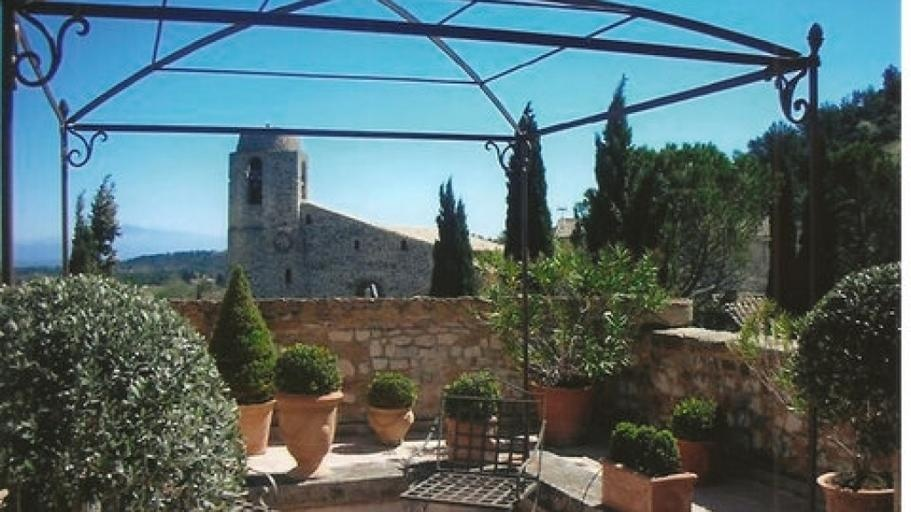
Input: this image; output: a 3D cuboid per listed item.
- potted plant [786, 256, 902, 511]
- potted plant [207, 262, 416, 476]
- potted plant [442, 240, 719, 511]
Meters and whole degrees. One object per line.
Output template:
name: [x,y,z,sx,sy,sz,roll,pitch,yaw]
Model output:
potted plant: [4.176,1.316,7.835,0.983,2.473,0.354,0,0,23]
potted plant: [-2.261,1.438,9.262,1.680,2.617,0.761,0,0,30]
potted plant: [1.518,1.670,11.050,2.983,3.671,2.827,2,-13,-7]
